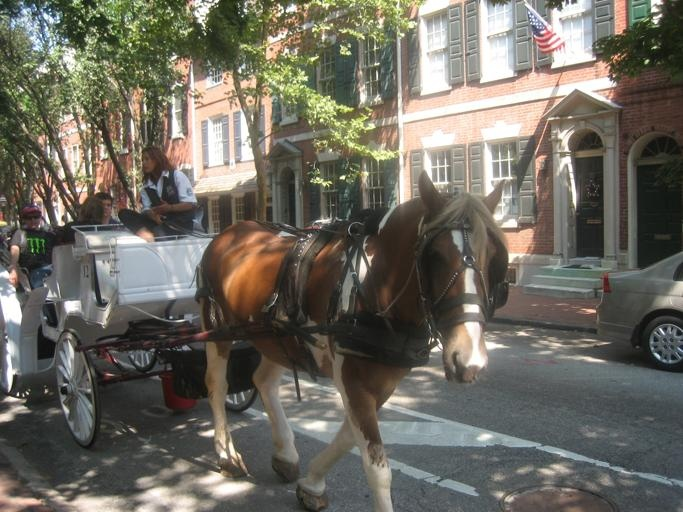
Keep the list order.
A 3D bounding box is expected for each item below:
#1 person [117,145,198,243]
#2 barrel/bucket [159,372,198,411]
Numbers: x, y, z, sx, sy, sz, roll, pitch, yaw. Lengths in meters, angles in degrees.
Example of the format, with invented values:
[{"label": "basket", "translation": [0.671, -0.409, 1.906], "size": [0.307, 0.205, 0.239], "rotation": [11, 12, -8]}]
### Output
[{"label": "person", "translation": [-2.484, -0.816, 8.954], "size": [0.966, 1.466, 0.970], "rotation": [-7, -2, -18]}, {"label": "barrel/bucket", "translation": [-2.153, 1.809, 8.576], "size": [0.519, 0.453, 0.564], "rotation": [2, -2, 0]}]
